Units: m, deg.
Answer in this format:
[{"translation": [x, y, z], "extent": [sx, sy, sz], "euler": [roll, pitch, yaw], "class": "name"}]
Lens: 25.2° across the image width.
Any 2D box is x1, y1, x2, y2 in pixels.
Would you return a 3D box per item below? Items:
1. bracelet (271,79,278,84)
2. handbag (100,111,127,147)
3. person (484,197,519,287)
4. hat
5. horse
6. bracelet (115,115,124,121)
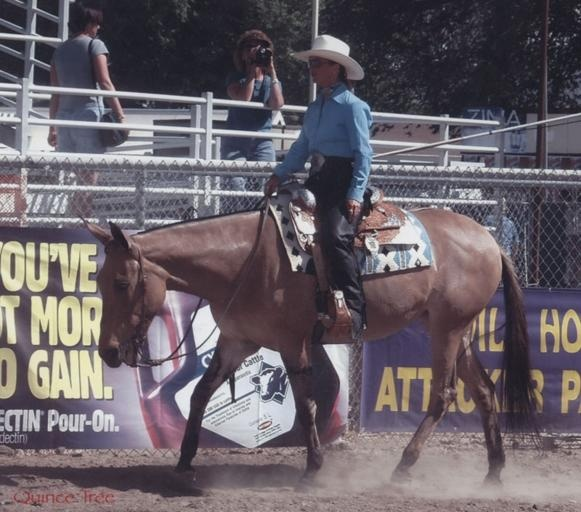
[{"translation": [-0.210, -2.207, 16.407], "extent": [0.060, 0.062, 0.018], "euler": [41, 23, 15], "class": "bracelet"}, {"translation": [-2.200, -1.579, 16.094], "extent": [0.359, 0.440, 0.182], "euler": [-5, -3, 33], "class": "handbag"}, {"translation": [2.540, -0.117, 16.144], "extent": [0.233, 1.298, 0.637], "euler": [-4, -8, 17], "class": "person"}, {"translation": [0.496, -2.093, 13.844], "extent": [0.575, 0.264, 0.502], "euler": [24, -14, -20], "class": "hat"}, {"translation": [0.375, 0.983, 14.340], "extent": [4.894, 3.667, 1.399], "euler": [-4, 21, -10], "class": "horse"}, {"translation": [-2.116, -1.721, 16.082], "extent": [0.059, 0.068, 0.062], "euler": [-25, 35, -38], "class": "bracelet"}]
